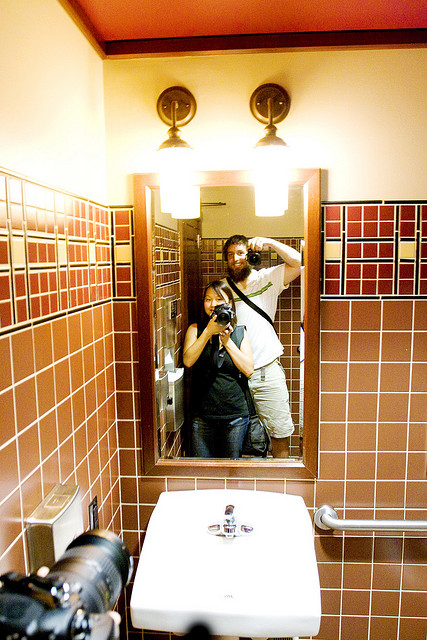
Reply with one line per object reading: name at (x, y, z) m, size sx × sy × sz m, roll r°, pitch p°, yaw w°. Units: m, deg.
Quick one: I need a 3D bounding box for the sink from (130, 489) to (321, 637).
sink at (0.034, 0.572, 1.273) m, size 0.430 × 0.175 × 0.402 m, roll 2°, pitch 10°, yaw 6°

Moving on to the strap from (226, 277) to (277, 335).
strap at (0.112, -0.046, 1.438) m, size 0.026 × 0.175 × 0.022 m, roll -42°, pitch 12°, yaw -37°

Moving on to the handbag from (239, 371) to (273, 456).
handbag at (0.113, 0.269, 1.503) m, size 0.118 × 0.258 × 0.114 m, roll -8°, pitch 6°, yaw 9°

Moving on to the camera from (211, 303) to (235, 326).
camera at (0.028, -0.017, 1.457) m, size 0.059 × 0.048 × 0.030 m, roll 20°, pitch 58°, yaw 22°

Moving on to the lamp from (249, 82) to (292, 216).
lamp at (0.158, -0.455, 1.354) m, size 0.092 × 0.342 × 0.093 m, roll -2°, pitch 10°, yaw 8°

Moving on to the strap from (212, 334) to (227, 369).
strap at (0.015, 0.092, 1.459) m, size 0.051 × 0.084 × 0.021 m, roll 1°, pitch 4°, yaw 22°

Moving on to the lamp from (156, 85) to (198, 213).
lamp at (-0.093, -0.456, 1.356) m, size 0.110 × 0.337 × 0.166 m, roll -1°, pitch 10°, yaw -8°
